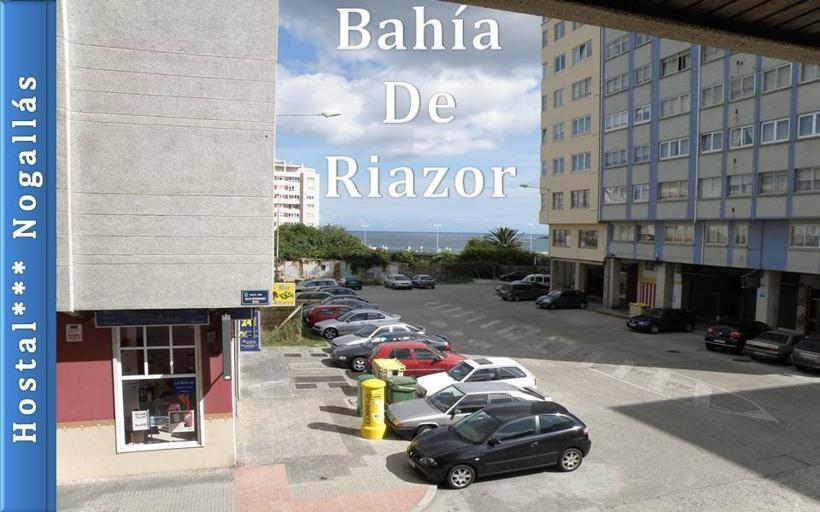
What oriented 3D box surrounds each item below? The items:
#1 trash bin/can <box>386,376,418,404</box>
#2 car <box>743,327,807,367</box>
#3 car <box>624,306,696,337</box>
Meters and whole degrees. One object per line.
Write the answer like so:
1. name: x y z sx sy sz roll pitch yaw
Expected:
1. trash bin/can: -0.289 4.465 20.550 0.961 0.666 0.933 1 -6 -10
2. car: 18.313 4.417 29.886 2.727 0.782 1.423 -7 9 -32
3. car: 15.725 4.038 37.907 3.903 1.145 1.698 3 -2 -20
